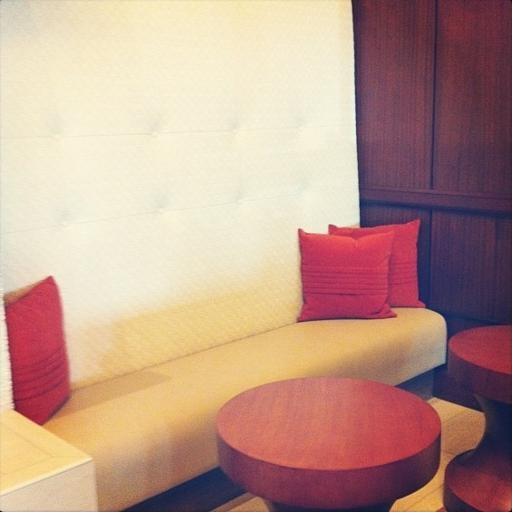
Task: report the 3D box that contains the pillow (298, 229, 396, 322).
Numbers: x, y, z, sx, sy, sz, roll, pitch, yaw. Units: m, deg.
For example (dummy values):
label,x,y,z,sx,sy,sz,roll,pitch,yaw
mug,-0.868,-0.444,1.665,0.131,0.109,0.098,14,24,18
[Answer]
label,x,y,z,sx,sy,sz,roll,pitch,yaw
pillow,0.242,0.058,1.420,0.292,0.240,0.104,-1,1,2

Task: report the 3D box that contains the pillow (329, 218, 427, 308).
label,x,y,z,sx,sy,sz,roll,pitch,yaw
pillow,0.334,0.028,1.481,0.297,0.242,0.102,-2,-1,-19
